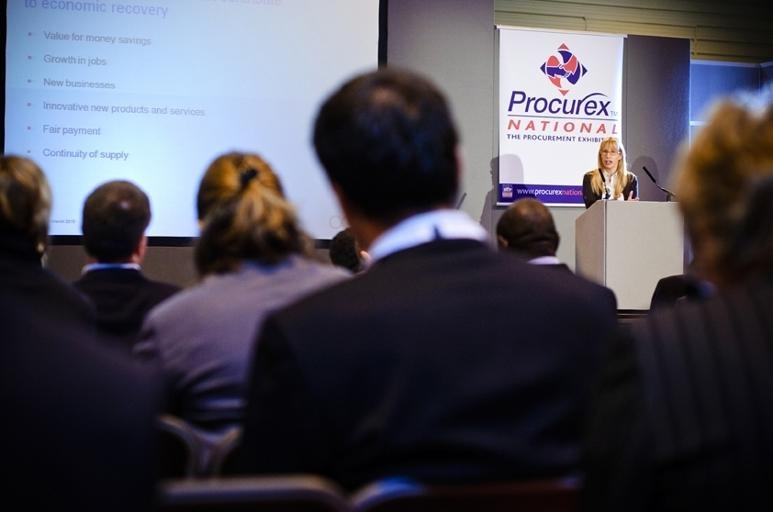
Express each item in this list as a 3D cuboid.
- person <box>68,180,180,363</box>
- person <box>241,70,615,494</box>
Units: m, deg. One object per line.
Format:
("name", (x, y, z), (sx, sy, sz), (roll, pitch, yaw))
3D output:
("person", (-1.145, 0.011, 3.023), (0.720, 0.670, 0.382), (-2, 10, -16))
("person", (0.095, 0.033, 1.473), (0.758, 0.846, 0.399), (3, 9, 14))
